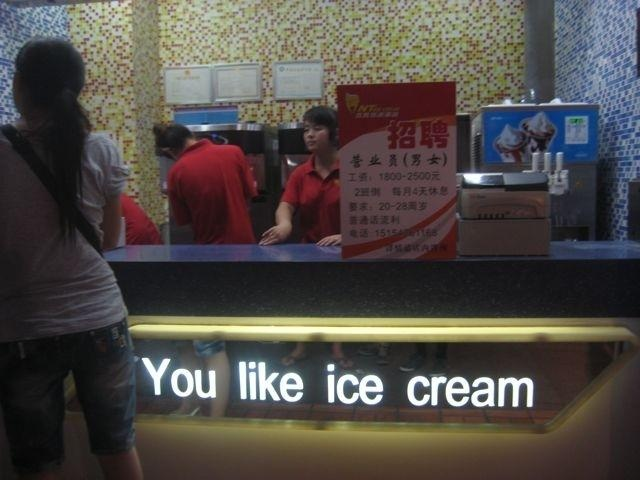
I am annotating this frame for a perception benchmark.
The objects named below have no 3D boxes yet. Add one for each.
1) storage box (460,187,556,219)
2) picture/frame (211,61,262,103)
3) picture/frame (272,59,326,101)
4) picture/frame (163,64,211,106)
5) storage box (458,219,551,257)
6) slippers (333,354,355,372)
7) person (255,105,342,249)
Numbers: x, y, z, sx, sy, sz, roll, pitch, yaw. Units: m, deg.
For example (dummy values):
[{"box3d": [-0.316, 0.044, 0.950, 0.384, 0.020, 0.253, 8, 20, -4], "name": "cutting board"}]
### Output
[{"box3d": [0.711, -0.137, 2.228, 0.332, 0.112, 0.046, -1, 12, 4], "name": "storage box"}, {"box3d": [-0.806, -1.569, 5.712, 0.420, 0.293, 0.041, 1, 11, 6], "name": "picture/frame"}, {"box3d": [-0.191, -1.556, 5.603, 0.419, 0.300, 0.056, 0, 8, 6], "name": "picture/frame"}, {"box3d": [-1.315, -1.562, 5.789, 0.435, 0.315, 0.062, 1, 9, 8], "name": "picture/frame"}, {"box3d": [0.715, -0.042, 2.329, 0.351, 0.163, 0.249, -1, 16, 2], "name": "storage box"}, {"box3d": [0.089, 0.465, 2.179, 0.098, 0.036, 0.026, 6, 8, 6], "name": "slippers"}, {"box3d": [-0.093, -0.342, 3.298, 0.392, 0.810, 1.063, -2, 12, 1], "name": "person"}]
